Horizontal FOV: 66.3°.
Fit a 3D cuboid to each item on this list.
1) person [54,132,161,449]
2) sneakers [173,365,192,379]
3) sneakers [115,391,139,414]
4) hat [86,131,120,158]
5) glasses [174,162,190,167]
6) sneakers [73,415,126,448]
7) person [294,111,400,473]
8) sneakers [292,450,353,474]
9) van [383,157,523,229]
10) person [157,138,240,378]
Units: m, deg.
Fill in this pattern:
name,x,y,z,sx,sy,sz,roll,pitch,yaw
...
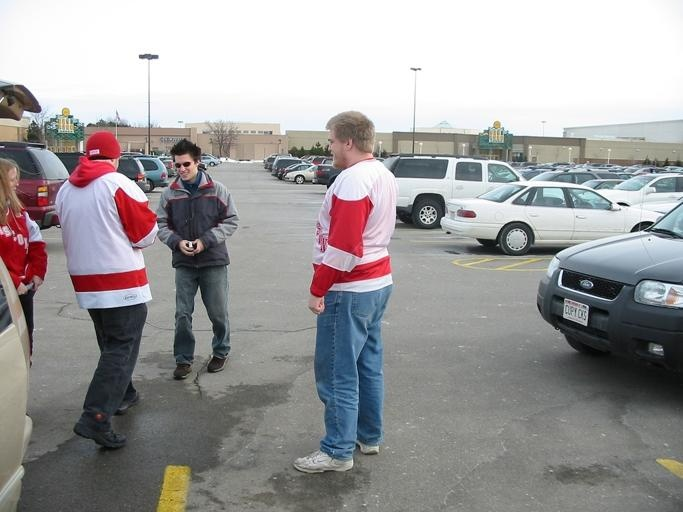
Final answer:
name,x,y,z,sx,sy,sz,roll,pitch,yaw
person,-1.714,0.240,3.942,0.632,2.302,0.626,-4,11,-25
sneakers,-1.586,1.142,5.175,0.081,0.097,0.222,1,-5,-2
sneakers,-1.825,1.262,4.484,0.087,0.098,0.243,4,19,7
hat,-1.831,-0.874,4.076,0.204,0.168,0.286,-1,15,-4
glasses,-1.565,-0.885,5.118,0.190,0.055,0.072,8,12,34
sneakers,-1.795,1.304,3.857,0.303,0.157,0.102,28,16,-29
person,0.029,0.424,3.638,0.721,2.144,0.425,-1,10,-8
sneakers,-0.135,1.447,3.730,0.421,0.186,0.154,4,-4,-4
van,4.000,-2.086,17.432,4.834,1.936,2.395,-4,9,-8
person,-1.443,0.006,5.314,0.752,2.304,0.634,-4,11,-23
